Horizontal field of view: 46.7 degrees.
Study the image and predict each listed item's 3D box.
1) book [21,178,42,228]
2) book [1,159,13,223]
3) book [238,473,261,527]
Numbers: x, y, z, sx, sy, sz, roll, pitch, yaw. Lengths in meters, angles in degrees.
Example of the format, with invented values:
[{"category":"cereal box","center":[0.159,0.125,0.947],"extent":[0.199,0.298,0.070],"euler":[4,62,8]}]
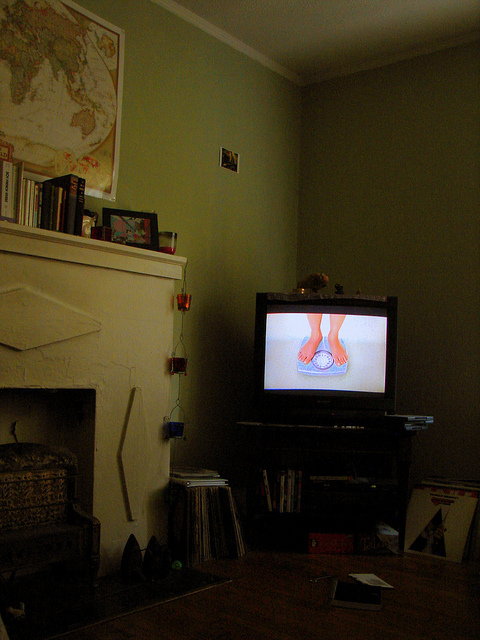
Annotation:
[{"category":"book","center":[-0.768,-0.474,2.076],"extent":[0.082,0.191,0.148],"euler":[3,40,-22]},{"category":"book","center":[-0.811,-0.449,1.938],"extent":[0.046,0.199,0.164],"euler":[1,8,-20]},{"category":"book","center":[0.053,0.892,2.767],"extent":[0.041,0.277,0.203],"euler":[-5,-5,-6]}]
